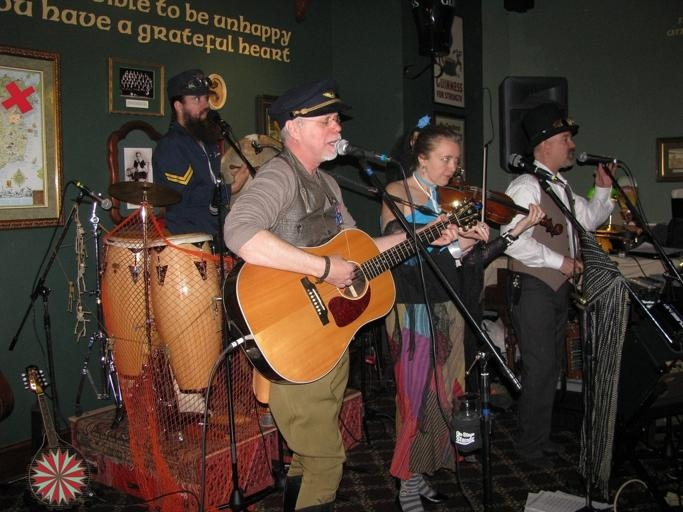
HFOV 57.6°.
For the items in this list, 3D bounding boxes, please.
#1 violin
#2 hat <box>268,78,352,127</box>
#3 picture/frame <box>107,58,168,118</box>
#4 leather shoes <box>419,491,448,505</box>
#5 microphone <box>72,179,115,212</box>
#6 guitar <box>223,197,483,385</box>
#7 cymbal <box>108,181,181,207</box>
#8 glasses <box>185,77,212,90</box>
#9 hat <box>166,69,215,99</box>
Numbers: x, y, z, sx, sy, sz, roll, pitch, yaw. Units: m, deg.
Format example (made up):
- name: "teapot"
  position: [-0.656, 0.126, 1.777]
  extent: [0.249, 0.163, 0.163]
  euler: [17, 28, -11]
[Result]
- name: "violin"
  position: [1.074, -0.330, 4.208]
  extent: [0.841, 0.134, 0.361]
  euler: [19, 28, -24]
- name: "hat"
  position: [-0.196, -0.788, 3.414]
  extent: [0.331, 0.147, 0.267]
  euler: [-6, 15, 32]
- name: "picture/frame"
  position: [-1.729, -1.399, 5.146]
  extent: [0.497, 0.516, 0.036]
  euler: [-3, 4, -43]
- name: "leather shoes"
  position: [0.621, 1.587, 4.125]
  extent: [0.150, 0.045, 0.088]
  euler: [-2, 3, 18]
- name: "microphone"
  position: [-1.940, -0.467, 4.779]
  extent: [0.345, 0.118, 0.116]
  euler: [31, -12, 38]
- name: "guitar"
  position: [-0.005, 0.176, 3.430]
  extent: [1.248, 0.644, 0.186]
  euler: [-32, 14, -32]
- name: "cymbal"
  position: [-1.393, -0.442, 4.377]
  extent: [0.351, 0.174, 0.382]
  euler: [2, 7, 30]
- name: "glasses"
  position: [-1.102, -1.323, 4.790]
  extent: [0.128, 0.042, 0.130]
  euler: [-23, -11, 33]
- name: "hat"
  position: [-1.204, -1.332, 4.875]
  extent: [0.284, 0.187, 0.229]
  euler: [-7, 3, 32]
